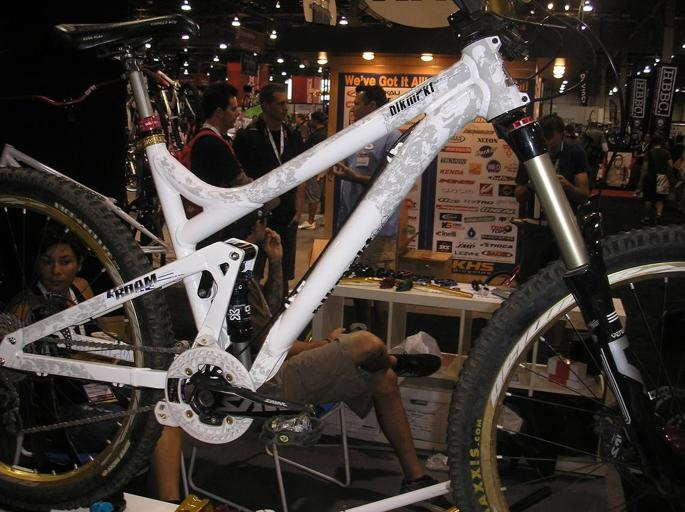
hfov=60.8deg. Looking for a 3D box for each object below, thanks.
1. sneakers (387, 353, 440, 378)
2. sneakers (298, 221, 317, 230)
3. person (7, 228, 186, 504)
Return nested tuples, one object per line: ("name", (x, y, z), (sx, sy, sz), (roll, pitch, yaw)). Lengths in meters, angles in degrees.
("sneakers", (0.357, 0.618, 3.349), (0.381, 0.111, 0.137), (12, -20, -5))
("sneakers", (-0.630, -0.555, 10.396), (0.314, 0.113, 0.123), (2, 8, 10))
("person", (-0.999, 0.454, 2.335), (0.565, 1.289, 0.165), (-11, 1, 9))
